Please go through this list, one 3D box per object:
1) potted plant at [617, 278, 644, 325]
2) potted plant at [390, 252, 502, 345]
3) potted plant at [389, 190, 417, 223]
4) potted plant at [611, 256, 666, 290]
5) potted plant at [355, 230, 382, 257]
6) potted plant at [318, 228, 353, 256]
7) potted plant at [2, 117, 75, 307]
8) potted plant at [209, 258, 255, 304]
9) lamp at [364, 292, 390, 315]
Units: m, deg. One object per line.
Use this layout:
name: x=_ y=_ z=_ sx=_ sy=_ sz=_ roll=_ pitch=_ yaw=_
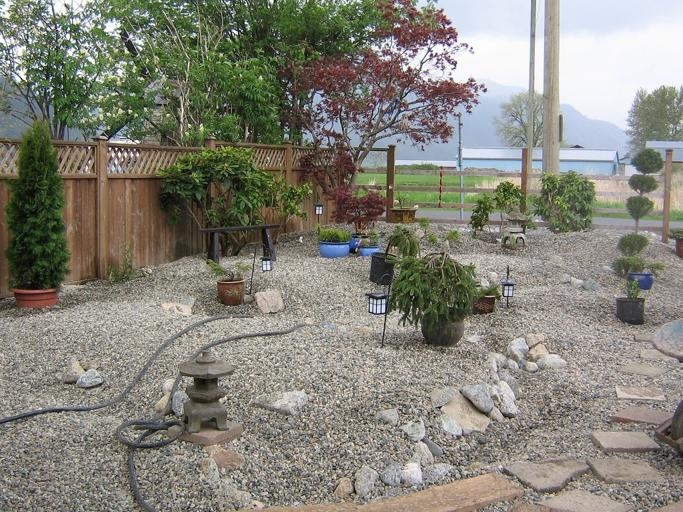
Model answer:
potted plant: x=3.937 y=0.612 z=7.984 sx=0.334 sy=0.602 sz=0.329 roll=-2 pitch=1 yaw=-41
potted plant: x=1.131 y=0.366 z=6.708 sx=0.932 sy=1.066 sz=0.988 roll=5 pitch=10 yaw=24
potted plant: x=1.343 y=-1.128 z=13.317 sx=0.661 sy=0.828 sz=0.602 roll=-6 pitch=-5 yaw=11
potted plant: x=5.153 y=0.257 z=9.731 sx=0.695 sy=0.572 sz=0.874 roll=1 pitch=3 yaw=16
potted plant: x=0.528 y=-0.246 z=11.339 sx=0.486 sy=0.415 sz=0.773 roll=0 pitch=9 yaw=2
potted plant: x=-0.138 y=-0.246 z=11.117 sx=0.500 sy=0.556 sz=0.502 roll=0 pitch=2 yaw=-5
potted plant: x=-4.011 y=-0.544 z=7.671 sx=0.768 sy=2.389 sz=0.596 roll=-4 pitch=9 yaw=-27
potted plant: x=-1.517 y=0.377 z=8.197 sx=0.443 sy=0.642 sz=0.614 roll=3 pitch=5 yaw=4
lamp: x=0.427 y=0.540 z=6.684 sx=0.278 sy=0.294 sz=0.231 roll=-4 pitch=7 yaw=-42
